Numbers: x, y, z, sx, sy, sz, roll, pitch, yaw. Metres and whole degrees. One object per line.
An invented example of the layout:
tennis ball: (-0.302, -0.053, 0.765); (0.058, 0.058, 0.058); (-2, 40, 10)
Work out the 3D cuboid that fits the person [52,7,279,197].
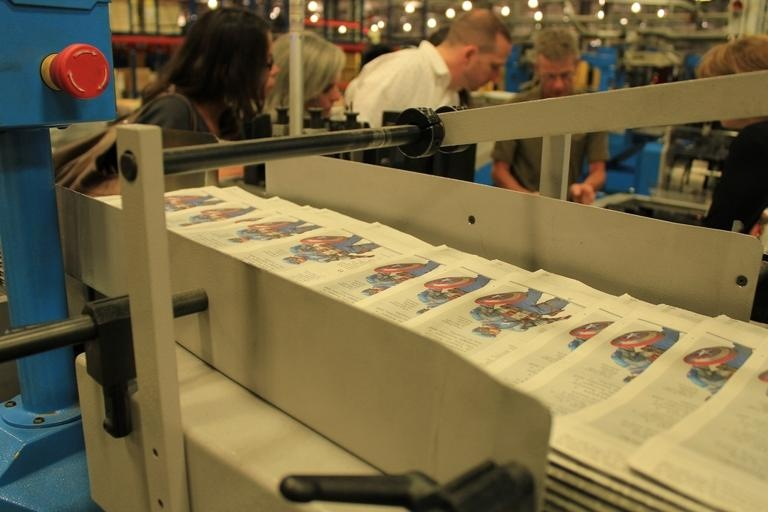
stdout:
person: (-0.840, -0.639, 2.418); (0.699, 0.564, 1.200); (1, 18, 2)
